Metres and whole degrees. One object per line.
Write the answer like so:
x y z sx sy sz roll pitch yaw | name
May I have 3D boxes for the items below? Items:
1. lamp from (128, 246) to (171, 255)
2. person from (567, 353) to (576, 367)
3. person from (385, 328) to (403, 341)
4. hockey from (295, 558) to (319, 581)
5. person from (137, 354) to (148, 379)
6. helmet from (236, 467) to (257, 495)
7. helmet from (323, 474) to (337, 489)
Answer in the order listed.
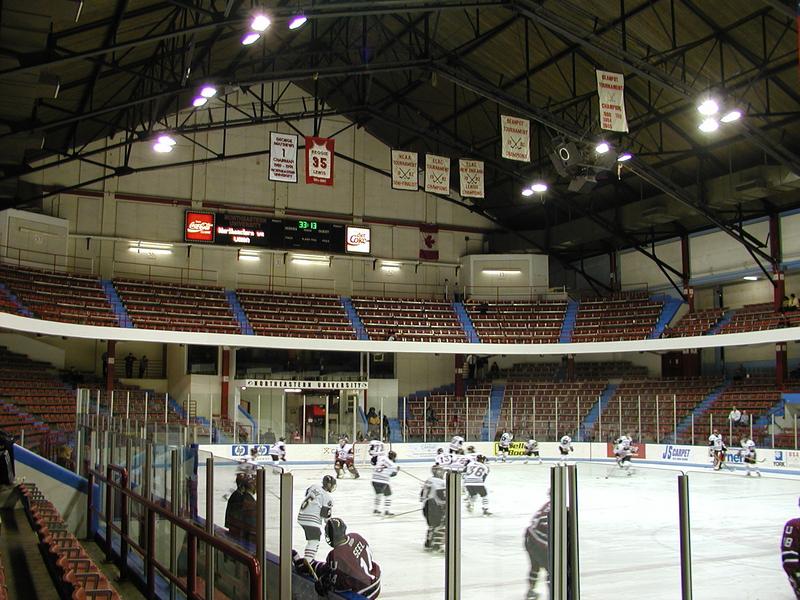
-11.163 -2.283 36.349 1.866 0.485 0.230 5 -11 -25 | lamp
8.343 2.854 39.295 0.449 0.946 0.472 2 -8 -21 | person
-0.240 1.628 37.247 0.746 0.834 0.415 3 -10 -17 | person
-1.288 3.754 11.343 0.077 0.319 0.286 -14 4 -40 | hockey
-11.302 2.918 35.576 0.274 1.079 0.836 -13 -15 43 | person
-1.813 2.124 9.605 0.292 0.315 0.240 -3 0 -15 | helmet
-1.174 3.060 13.561 0.167 0.229 0.234 4 6 19 | helmet
